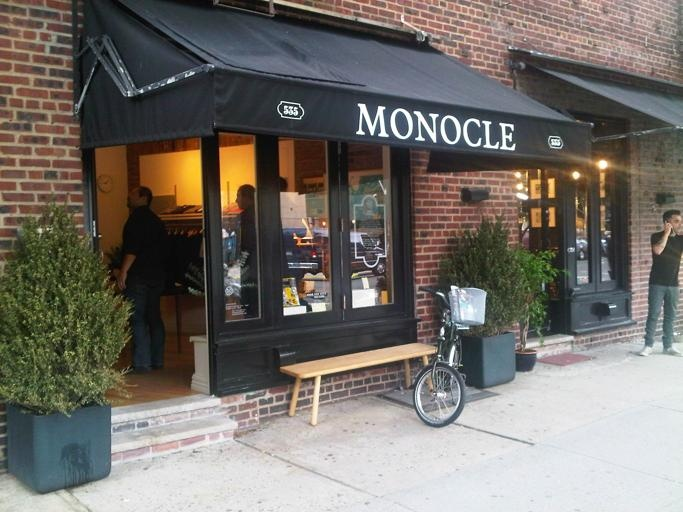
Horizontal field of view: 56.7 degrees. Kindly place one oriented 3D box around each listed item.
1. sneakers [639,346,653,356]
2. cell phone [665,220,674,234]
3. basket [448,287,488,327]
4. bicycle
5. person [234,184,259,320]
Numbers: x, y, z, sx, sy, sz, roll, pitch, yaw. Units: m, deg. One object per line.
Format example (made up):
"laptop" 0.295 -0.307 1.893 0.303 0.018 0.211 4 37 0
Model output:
"sneakers" 4.962 1.551 10.329 0.102 0.120 0.288 -2 -3 40
"cell phone" 5.335 -0.469 10.305 0.129 0.234 0.058 -7 -9 12
"basket" 1.441 0.617 7.395 0.454 0.407 0.399 4 -14 -13
"bicycle" 1.304 1.074 7.616 0.780 1.529 1.531 2 7 13
"person" -1.090 -0.059 7.309 0.225 1.509 0.168 -2 7 -22
